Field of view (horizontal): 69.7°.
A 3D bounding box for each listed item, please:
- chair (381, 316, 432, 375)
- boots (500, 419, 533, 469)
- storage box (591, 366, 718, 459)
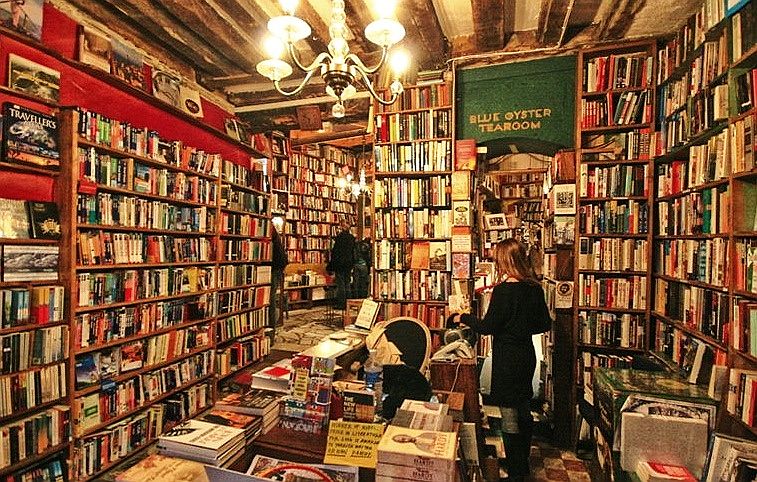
[{"bbox_3d":[0.285,1.032,5.410,0.449,0.495,0.270,-2,-2,2],"label":"chair"},{"bbox_3d":[1.418,2.087,5.485,0.327,0.518,0.136,0,-3,-30],"label":"boots"},{"bbox_3d":[2.437,1.540,5.047,0.723,0.417,0.711,0,2,16],"label":"storage box"}]
